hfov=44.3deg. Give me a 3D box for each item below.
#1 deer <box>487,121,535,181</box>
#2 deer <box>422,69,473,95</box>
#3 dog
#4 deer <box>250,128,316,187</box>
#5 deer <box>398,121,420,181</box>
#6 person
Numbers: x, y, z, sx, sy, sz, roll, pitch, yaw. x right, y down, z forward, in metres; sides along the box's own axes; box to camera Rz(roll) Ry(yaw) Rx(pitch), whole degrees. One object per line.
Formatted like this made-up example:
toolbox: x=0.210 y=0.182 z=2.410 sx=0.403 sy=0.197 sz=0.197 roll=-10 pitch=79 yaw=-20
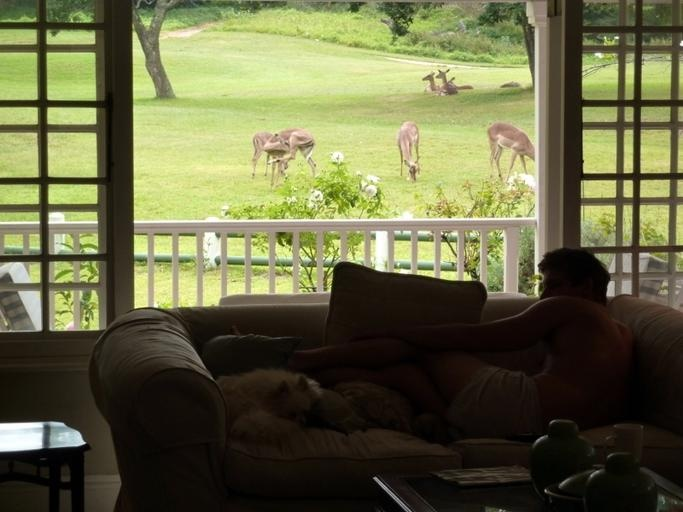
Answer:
deer: x=2.702 y=-1.586 z=13.023 sx=0.270 sy=0.836 sz=1.097 roll=-8 pitch=24 yaw=-39
deer: x=2.062 y=-3.533 z=17.115 sx=0.930 sy=0.529 sz=0.655 roll=-5 pitch=6 yaw=-27
dog: x=-0.279 y=0.579 z=3.236 sx=0.276 sy=0.133 sz=0.258 roll=6 pitch=31 yaw=-8
deer: x=-0.782 y=-1.793 z=14.552 sx=0.545 sy=1.162 sz=1.780 roll=1 pitch=3 yaw=-34
deer: x=1.219 y=-1.895 z=15.490 sx=0.352 sy=0.911 sz=1.605 roll=0 pitch=-4 yaw=12
person: x=0.432 y=0.438 z=3.866 sx=1.602 sy=0.954 sz=0.633 roll=1 pitch=-17 yaw=10
